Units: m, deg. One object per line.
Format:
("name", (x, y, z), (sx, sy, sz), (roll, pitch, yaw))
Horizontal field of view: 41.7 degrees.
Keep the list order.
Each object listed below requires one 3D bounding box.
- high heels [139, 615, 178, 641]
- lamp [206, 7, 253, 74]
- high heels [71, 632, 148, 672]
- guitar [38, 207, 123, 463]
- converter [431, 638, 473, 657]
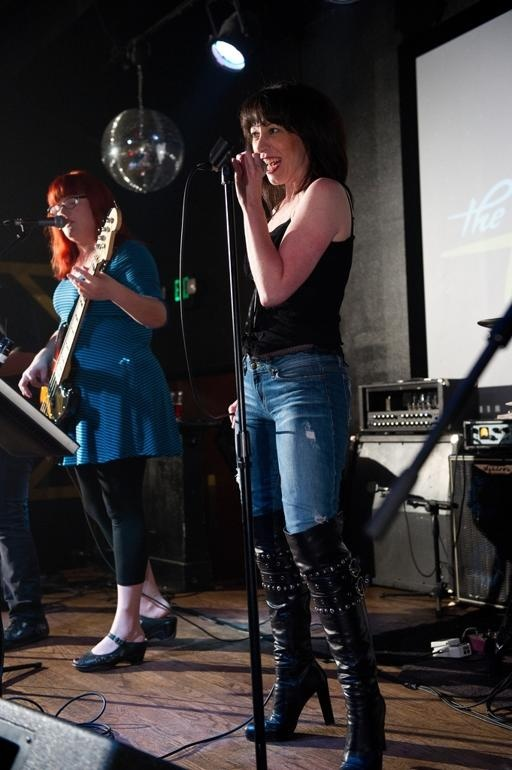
("high heels", (-0.383, 0.892, 2.460), (0.176, 0.070, 0.063), (-1, -7, 27))
("lamp", (-0.121, -1.927, 3.738), (0.261, 0.324, 0.215), (-1, 1, 44))
("high heels", (-0.453, 0.865, 2.184), (0.268, 0.123, 0.093), (11, -19, -33))
("guitar", (-0.560, -0.228, 2.162), (0.275, 0.686, 0.520), (-2, 1, -17))
("converter", (0.648, 0.867, 2.233), (0.066, 0.048, 0.098), (6, -15, -40))
